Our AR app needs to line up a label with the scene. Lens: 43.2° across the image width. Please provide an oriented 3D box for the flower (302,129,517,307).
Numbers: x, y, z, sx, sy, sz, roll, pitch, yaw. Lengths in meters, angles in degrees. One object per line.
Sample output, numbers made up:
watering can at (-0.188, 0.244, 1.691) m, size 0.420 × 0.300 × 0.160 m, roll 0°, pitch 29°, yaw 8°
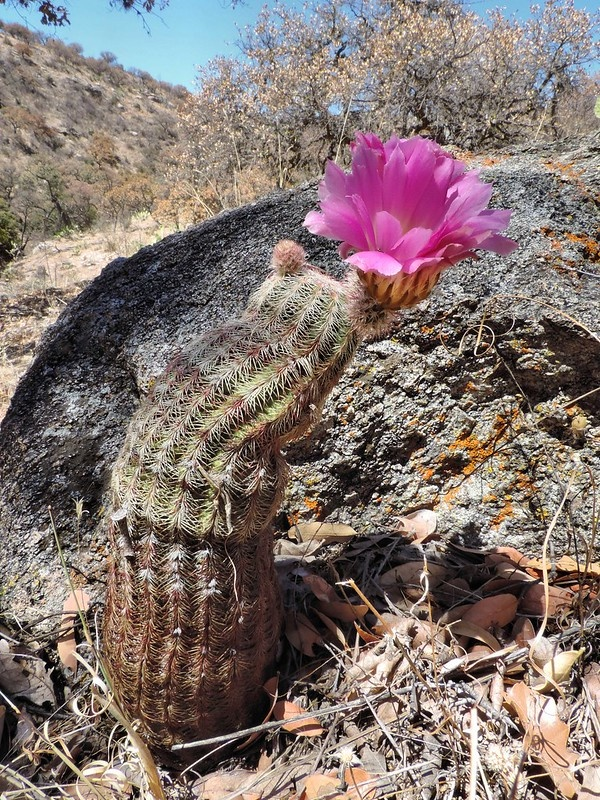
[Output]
flower at (0.191, -0.281, 1.280) m, size 0.298 × 0.230 × 0.242 m, roll -11°, pitch 39°, yaw -14°

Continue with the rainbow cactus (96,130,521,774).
rainbow cactus at (-0.028, 0.105, 1.399) m, size 0.835 × 1.089 × 0.334 m, roll -14°, pitch 19°, yaw -13°
